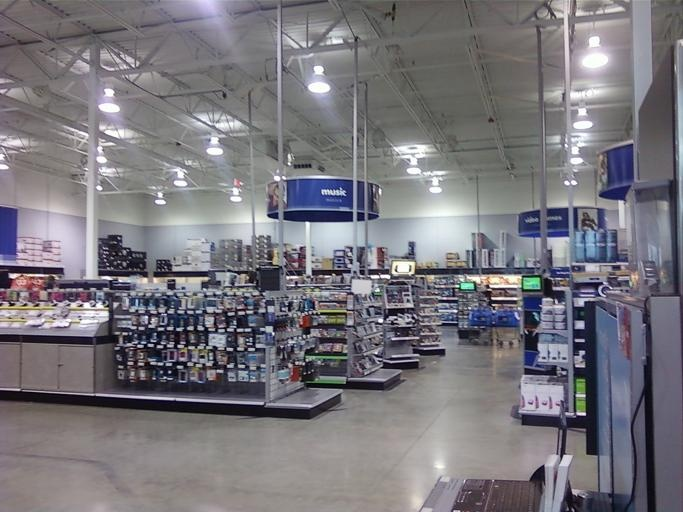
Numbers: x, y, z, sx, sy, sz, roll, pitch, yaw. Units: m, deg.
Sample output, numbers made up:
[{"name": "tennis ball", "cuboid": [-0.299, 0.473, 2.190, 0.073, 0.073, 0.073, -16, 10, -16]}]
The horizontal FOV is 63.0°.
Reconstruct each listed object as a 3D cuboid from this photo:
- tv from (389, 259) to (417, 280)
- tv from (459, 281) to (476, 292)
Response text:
[{"name": "tv", "cuboid": [1.653, 0.365, 14.667, 0.549, 0.334, 0.513, 1, -1, -12]}, {"name": "tv", "cuboid": [3.769, 0.912, 16.517, 0.562, 0.314, 0.280, 1, 6, 2]}]
